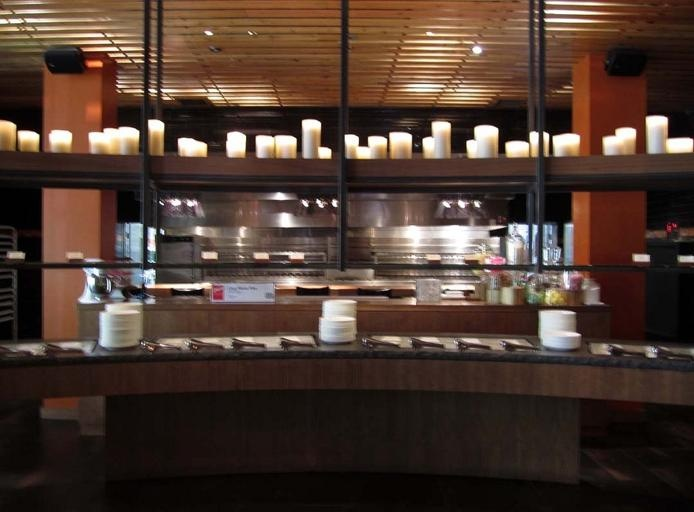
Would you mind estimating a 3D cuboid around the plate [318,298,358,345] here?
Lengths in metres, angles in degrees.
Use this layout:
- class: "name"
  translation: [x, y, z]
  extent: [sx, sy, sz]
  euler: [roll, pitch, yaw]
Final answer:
- class: "plate"
  translation: [-0.074, 0.497, 5.218]
  extent: [0.291, 0.315, 0.332]
  euler: [0, -3, 0]

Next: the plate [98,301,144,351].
- class: "plate"
  translation: [-1.628, 0.510, 4.944]
  extent: [0.382, 0.257, 0.353]
  euler: [1, -2, -15]

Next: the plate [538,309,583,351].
- class: "plate"
  translation: [1.567, 0.544, 5.045]
  extent: [0.290, 0.283, 0.230]
  euler: [-1, -4, 14]

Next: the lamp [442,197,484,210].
- class: "lamp"
  translation: [1.587, -0.738, 9.651]
  extent: [0.545, 0.140, 0.089]
  euler: [0, -4, -4]

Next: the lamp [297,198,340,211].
- class: "lamp"
  translation: [-0.394, -0.744, 9.727]
  extent: [0.482, 0.089, 0.437]
  euler: [1, 3, 22]
